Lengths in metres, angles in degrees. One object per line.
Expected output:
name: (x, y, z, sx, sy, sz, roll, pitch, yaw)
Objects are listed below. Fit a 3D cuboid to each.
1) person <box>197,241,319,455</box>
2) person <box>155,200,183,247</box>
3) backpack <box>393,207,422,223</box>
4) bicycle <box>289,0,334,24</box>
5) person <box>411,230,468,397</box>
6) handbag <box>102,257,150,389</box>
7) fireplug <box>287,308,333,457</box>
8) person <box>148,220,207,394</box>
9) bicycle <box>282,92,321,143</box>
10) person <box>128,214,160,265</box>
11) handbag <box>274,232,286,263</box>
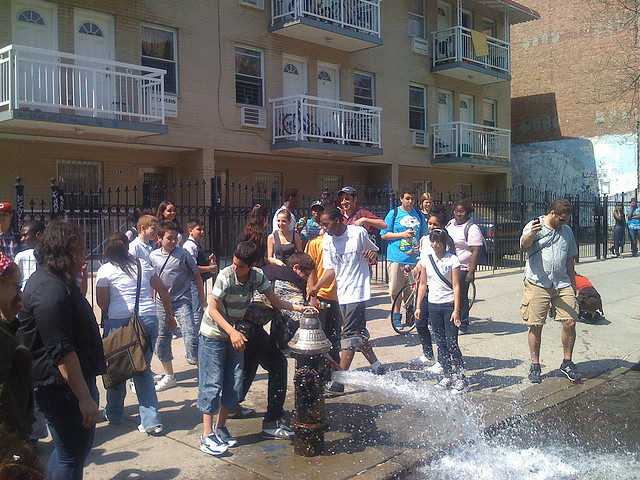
person: (-0.926, 1.162, 7.478, 0.888, 2.366, 0.559, -2, 9, -13)
person: (-2.398, -0.142, 10.652, 0.416, 1.042, 0.357, -5, 25, -18)
backpack: (1.441, -0.460, 11.324, 0.344, 0.355, 0.257, -9, 2, 3)
bicycle: (-0.169, -7.307, 21.365, 1.819, 0.756, 0.653, -6, 12, -36)
person: (1.658, 0.928, 9.037, 0.566, 2.219, 0.640, -17, 16, -43)
handbag: (-2.176, 1.225, 7.512, 0.522, 0.694, 0.421, -3, 10, -22)
fireplug: (-0.130, 1.593, 7.504, 0.455, 1.536, 0.469, 1, 9, 4)
person: (-1.961, 0.916, 8.987, 0.894, 2.465, 0.817, -2, 17, -10)
bicycle: (-0.506, -3.828, 21.155, 1.516, 1.028, 0.713, 1, 9, -38)
person: (-2.392, -0.005, 9.201, 0.375, 0.729, 0.714, 1, -1, 12)
handbag: (-0.618, 0.084, 10.161, 0.078, 0.318, 0.229, -17, -12, 15)
